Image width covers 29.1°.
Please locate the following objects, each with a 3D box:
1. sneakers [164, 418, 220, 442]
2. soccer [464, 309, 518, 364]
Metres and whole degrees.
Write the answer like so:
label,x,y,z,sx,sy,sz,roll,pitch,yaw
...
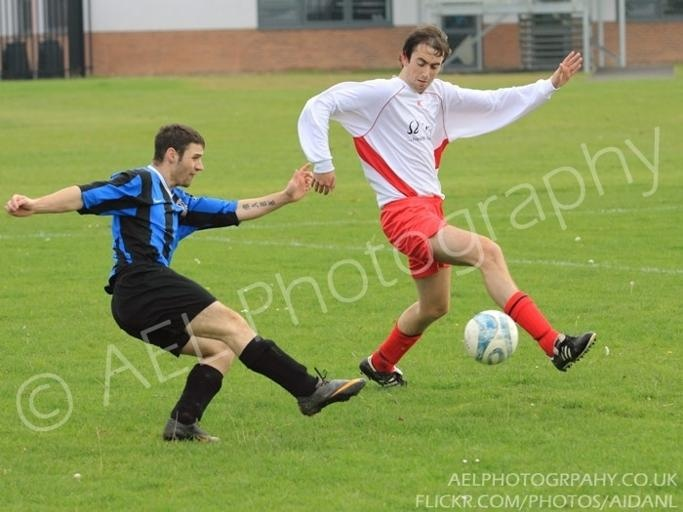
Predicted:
label,x,y,z,sx,sy,sz,roll,pitch,yaw
sneakers,-1.413,1.643,12.277,0.619,0.209,0.191,2,-3,-3
soccer,1.428,0.772,12.813,0.589,0.526,0.562,-4,6,-2
